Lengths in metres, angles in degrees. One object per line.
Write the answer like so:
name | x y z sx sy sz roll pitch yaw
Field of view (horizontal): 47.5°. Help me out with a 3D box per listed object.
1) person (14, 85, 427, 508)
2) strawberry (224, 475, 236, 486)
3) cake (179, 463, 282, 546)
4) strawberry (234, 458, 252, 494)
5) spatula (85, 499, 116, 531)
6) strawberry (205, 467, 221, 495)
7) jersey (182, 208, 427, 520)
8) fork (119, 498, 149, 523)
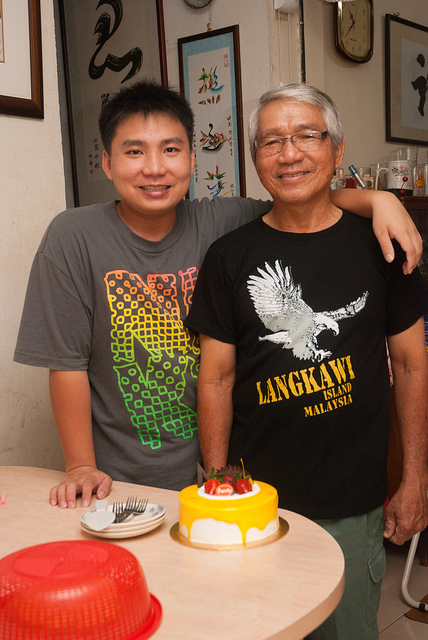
person | -0.063 0.009 2.008 1.328 1.559 1.056 -6 9 -43
strawberry | 0.032 0.304 0.931 0.023 0.012 0.023 -3 -2 14
cake | 0.033 0.348 0.918 0.177 0.107 0.186 -3 -3 9
strawberry | 0.054 0.305 0.911 0.020 0.054 0.026 -1 -26 11
spatula | -0.209 0.358 0.890 0.035 0.007 0.118 -3 12 -1
strawberry | -0.005 0.303 0.918 0.024 0.023 0.044 2 44 1
jersey | 0.247 0.119 1.290 0.829 0.986 0.370 -1 0 4
fork | -0.152 0.364 0.914 0.011 0.013 0.088 -1 26 31
